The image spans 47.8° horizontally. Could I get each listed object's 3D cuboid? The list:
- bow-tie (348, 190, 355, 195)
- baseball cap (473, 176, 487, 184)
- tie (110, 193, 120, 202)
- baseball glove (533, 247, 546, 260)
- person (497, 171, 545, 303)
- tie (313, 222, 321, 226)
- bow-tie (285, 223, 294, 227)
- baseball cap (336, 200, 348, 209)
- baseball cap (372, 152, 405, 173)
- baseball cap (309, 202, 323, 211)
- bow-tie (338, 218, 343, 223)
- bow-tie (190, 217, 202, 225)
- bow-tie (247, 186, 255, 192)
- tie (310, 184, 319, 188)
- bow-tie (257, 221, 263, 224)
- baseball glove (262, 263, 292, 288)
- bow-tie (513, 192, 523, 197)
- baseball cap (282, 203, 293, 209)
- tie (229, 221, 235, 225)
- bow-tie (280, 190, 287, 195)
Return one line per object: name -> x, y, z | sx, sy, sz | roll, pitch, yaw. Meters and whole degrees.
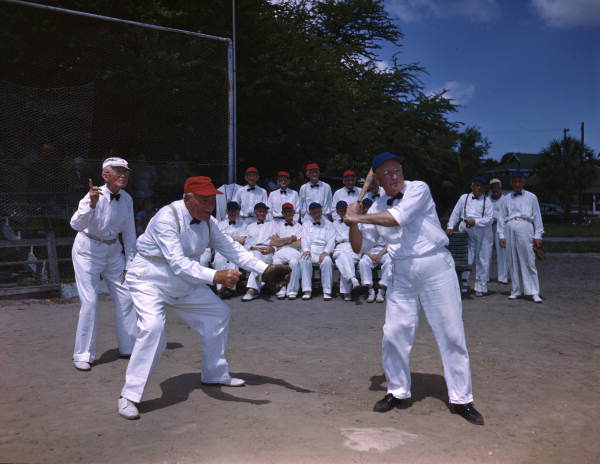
bow-tie -> 1.105, -0.864, 14.951 | 0.178, 0.107, 0.046 | 5, 12, 28
baseball cap -> 3.591, -1.036, 13.694 | 0.244, 0.138, 0.290 | 2, 10, 13
tie -> -2.540, -0.465, 9.280 | 0.143, 0.116, 0.019 | -1, -21, -18
baseball glove -> 4.519, 0.385, 12.950 | 0.167, 0.232, 0.354 | 3, 10, 18
person -> 4.227, 0.121, 13.062 | 0.747, 2.470, 1.161 | 0, 11, 2
tie -> 0.342, -0.165, 14.223 | 0.102, 0.081, 0.029 | 0, -2, 1
bow-tie -> -0.241, -0.146, 14.384 | 0.174, 0.062, 0.064 | -1, 10, -2
baseball cap -> 0.844, -0.536, 13.923 | 0.251, 0.146, 0.319 | 1, 6, 11
baseball cap -> 0.992, -0.789, 7.736 | 0.374, 0.213, 0.284 | -2, 10, -11
baseball cap -> 0.302, -0.525, 14.339 | 0.247, 0.162, 0.332 | 0, 10, 1
bow-tie -> 0.823, -0.228, 14.090 | 0.167, 0.096, 0.039 | -7, -11, 42
bow-tie -> -1.208, -0.122, 7.901 | 0.152, 0.096, 0.035 | -9, 14, -41
bow-tie -> -1.095, -0.938, 15.059 | 0.152, 0.063, 0.039 | -20, 25, 4
tie -> 0.309, -1.017, 15.174 | 0.329, 0.047, 0.147 | -5, 14, -1
bow-tie -> -0.864, -0.198, 14.471 | 0.071, 0.060, 0.020 | -5, -11, 5
baseball glove -> -0.279, 0.502, 7.885 | 0.324, 0.271, 0.173 | -1, 11, -1
bow-tie -> 4.158, -0.712, 13.023 | 0.150, 0.081, 0.030 | 1, 11, 9
baseball cap -> -0.294, -0.542, 14.359 | 0.246, 0.123, 0.179 | 2, 10, 12
tie -> -1.464, -0.185, 14.478 | 0.101, 0.062, 0.014 | 0, 6, 2
bow-tie -> -0.391, -0.873, 15.014 | 0.163, 0.060, 0.048 | 3, 11, 21
